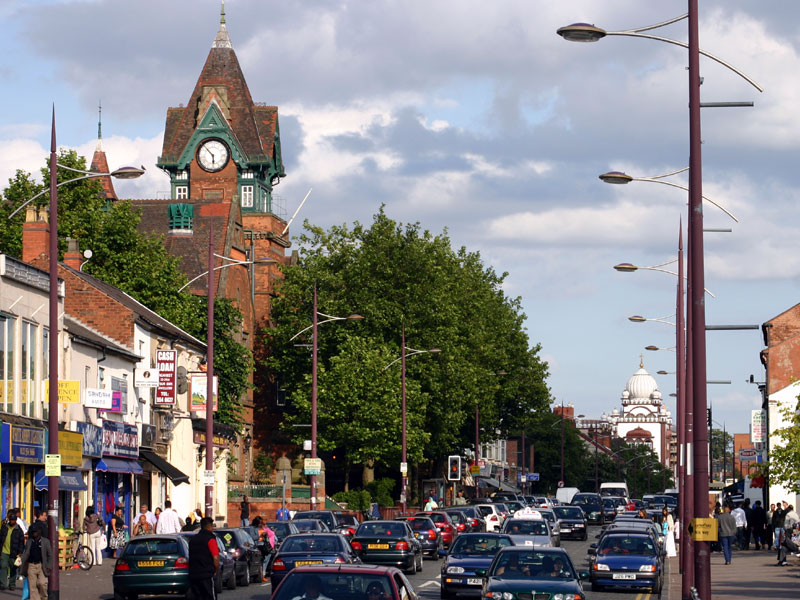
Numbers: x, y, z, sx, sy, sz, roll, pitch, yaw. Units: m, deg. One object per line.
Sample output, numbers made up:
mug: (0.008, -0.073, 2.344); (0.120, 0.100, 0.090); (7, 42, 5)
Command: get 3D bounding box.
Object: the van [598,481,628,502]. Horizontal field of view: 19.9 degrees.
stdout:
van: (14.272, 13.147, 152.303); (1.446, 1.464, 2.683); (-2, -15, 6)
